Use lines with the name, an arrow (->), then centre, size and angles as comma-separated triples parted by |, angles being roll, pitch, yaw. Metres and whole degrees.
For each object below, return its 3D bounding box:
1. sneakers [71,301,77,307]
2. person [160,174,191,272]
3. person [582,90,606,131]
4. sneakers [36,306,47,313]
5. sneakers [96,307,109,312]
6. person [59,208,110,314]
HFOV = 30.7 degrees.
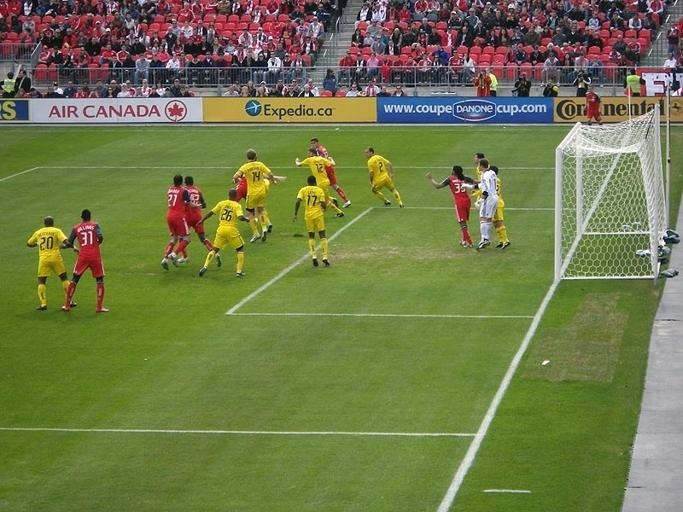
sneakers -> -5.867, 1.047, 27.731 | 0.141, 0.118, 0.345 | 0, 5, -1
person -> -3.909, -0.807, 29.775 | 0.743, 2.296, 0.769 | -6, 12, -13
person -> 9.301, -5.499, 45.757 | 0.560, 1.289, 1.256 | -1, 11, 10
sneakers -> -6.521, 1.135, 27.496 | 0.287, 0.100, 0.105 | 6, 7, 40
sneakers -> -5.140, 1.145, 27.249 | 0.297, 0.085, 0.110 | -4, -32, -10
person -> -5.625, 0.057, 27.372 | 0.930, 2.258, 1.348 | -6, 12, -12
